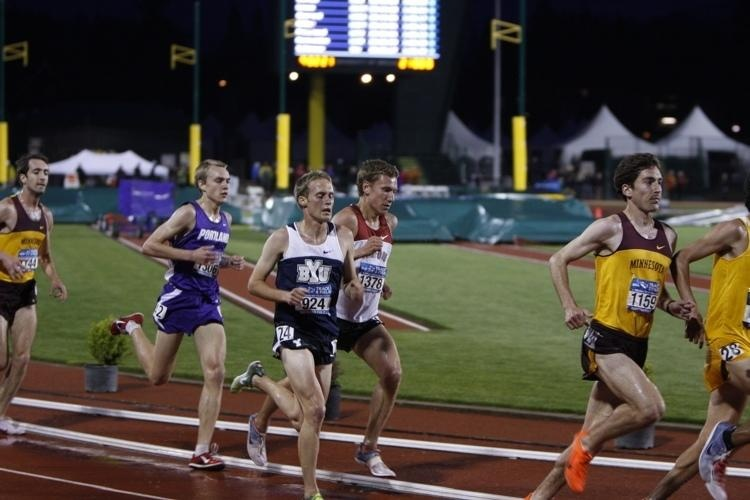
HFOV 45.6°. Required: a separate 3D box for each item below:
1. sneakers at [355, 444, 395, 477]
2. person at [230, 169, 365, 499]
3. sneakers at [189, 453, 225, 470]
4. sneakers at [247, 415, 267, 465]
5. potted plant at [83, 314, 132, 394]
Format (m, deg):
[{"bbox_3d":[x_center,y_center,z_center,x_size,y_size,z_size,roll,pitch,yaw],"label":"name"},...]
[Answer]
[{"bbox_3d":[-0.003,2.086,8.858,0.504,0.211,0.192,26,19,37],"label":"sneakers"},{"bbox_3d":[-0.668,0.757,8.428,0.836,2.987,1.302,-2,8,-42],"label":"person"},{"bbox_3d":[-1.634,2.063,8.739,0.355,0.161,0.140,1,-5,6],"label":"sneakers"},{"bbox_3d":[-1.183,1.921,8.912,0.175,0.481,0.189,-1,-20,-42],"label":"sneakers"},{"bbox_3d":[-3.362,1.304,11.022,0.425,0.781,0.464,6,1,-20],"label":"potted plant"}]
